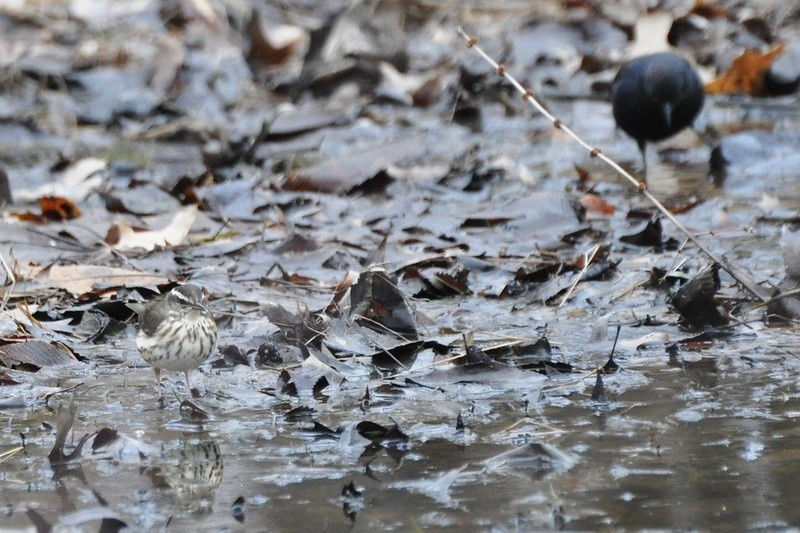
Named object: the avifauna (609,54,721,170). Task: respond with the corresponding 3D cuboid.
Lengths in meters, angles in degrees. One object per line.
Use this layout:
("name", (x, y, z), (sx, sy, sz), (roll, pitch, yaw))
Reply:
("avifauna", (1.413, -0.930, 5.259), (0.498, 0.502, 0.295), (-6, 18, 27))

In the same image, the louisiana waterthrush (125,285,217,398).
("louisiana waterthrush", (-1.003, 0.318, 4.227), (0.356, 0.419, 0.669), (-2, 6, -30))
